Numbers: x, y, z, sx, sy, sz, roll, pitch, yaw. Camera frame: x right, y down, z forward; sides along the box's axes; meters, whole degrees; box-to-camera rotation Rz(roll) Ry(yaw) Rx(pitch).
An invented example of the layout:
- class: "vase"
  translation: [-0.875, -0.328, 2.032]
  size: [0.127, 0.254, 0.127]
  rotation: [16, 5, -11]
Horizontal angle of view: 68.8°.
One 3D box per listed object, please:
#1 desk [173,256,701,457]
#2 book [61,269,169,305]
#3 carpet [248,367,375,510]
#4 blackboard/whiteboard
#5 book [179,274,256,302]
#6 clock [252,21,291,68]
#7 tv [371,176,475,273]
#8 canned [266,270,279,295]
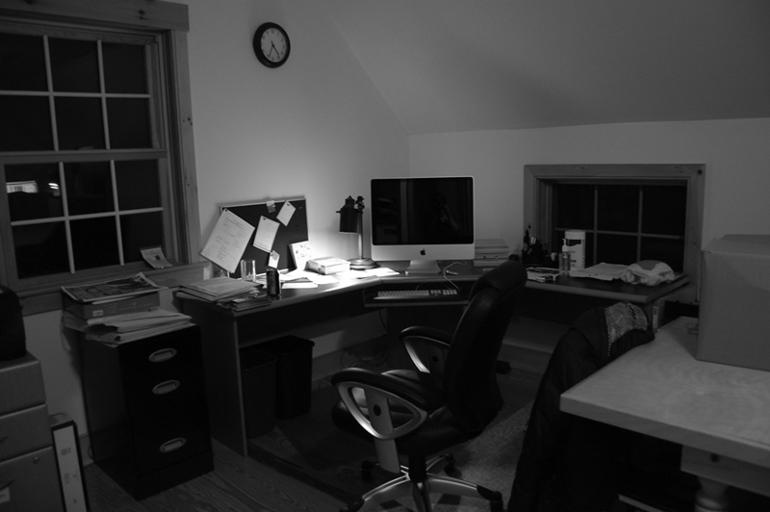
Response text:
- class: "desk"
  translation: [-0.115, 0.488, 3.747]
  size: [1.841, 0.720, 1.854]
  rotation: [2, 8, 31]
- class: "book"
  translation: [-1.674, 0.202, 3.425]
  size: [0.338, 0.070, 0.221]
  rotation: [-10, 18, -42]
- class: "carpet"
  translation: [-0.420, 1.128, 3.473]
  size: [0.658, 0.158, 0.675]
  rotation: [21, 26, 30]
- class: "blackboard/whiteboard"
  translation: [-0.929, -0.124, 4.111]
  size: [0.557, 0.457, 0.043]
  rotation: [-13, 17, -42]
- class: "book"
  translation: [-1.085, 0.213, 3.633]
  size: [0.473, 0.083, 0.316]
  rotation: [9, 13, 41]
- class: "clock"
  translation: [-0.842, -1.546, 4.123]
  size: [0.035, 0.320, 0.331]
  rotation: [13, 18, 35]
- class: "tv"
  translation: [0.274, -0.243, 4.195]
  size: [0.737, 0.593, 0.228]
  rotation: [0, 2, 2]
- class: "canned"
  translation: [-0.722, 0.168, 3.552]
  size: [0.089, 0.178, 0.034]
  rotation: [5, 10, 24]
